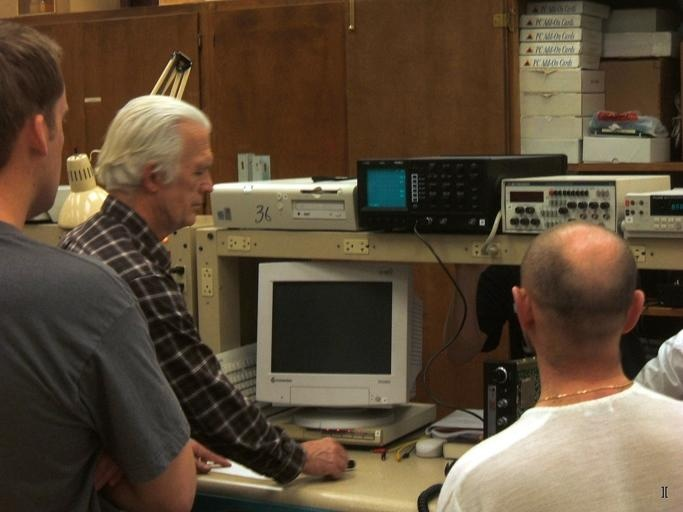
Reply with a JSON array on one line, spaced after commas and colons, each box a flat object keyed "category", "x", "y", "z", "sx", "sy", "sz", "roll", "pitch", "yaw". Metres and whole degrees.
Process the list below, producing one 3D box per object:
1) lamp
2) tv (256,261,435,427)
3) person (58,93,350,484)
[{"category": "lamp", "x": -0.894, "y": -0.233, "z": 2.583, "sx": 0.186, "sy": 0.247, "sz": 0.201, "roll": 1, "pitch": 13, "yaw": 19}, {"category": "tv", "x": 0.031, "y": 0.243, "z": 2.606, "sx": 0.647, "sy": 0.788, "sz": 0.428, "roll": -1, "pitch": -4, "yaw": 9}, {"category": "person", "x": -0.460, "y": 0.052, "z": 2.458, "sx": 0.814, "sy": 1.355, "sz": 0.891, "roll": -4, "pitch": 5, "yaw": -22}]
